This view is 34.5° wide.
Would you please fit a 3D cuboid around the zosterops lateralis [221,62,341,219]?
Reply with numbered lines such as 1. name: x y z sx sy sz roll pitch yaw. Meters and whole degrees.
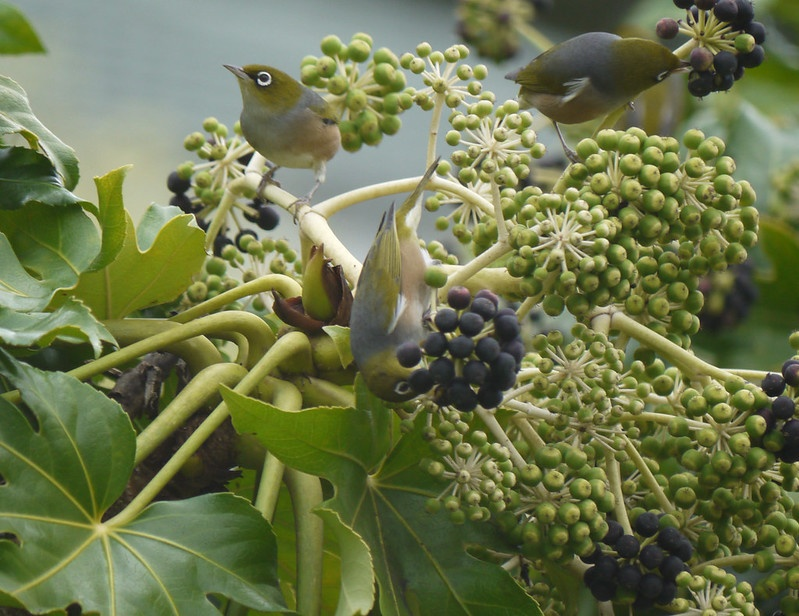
1. zosterops lateralis: -0.154 -0.238 1.769 0.128 0.190 0.214 5 12 22

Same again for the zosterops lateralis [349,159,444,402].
1. zosterops lateralis: -0.004 -0.030 1.396 0.094 0.236 0.078 -13 12 -32
